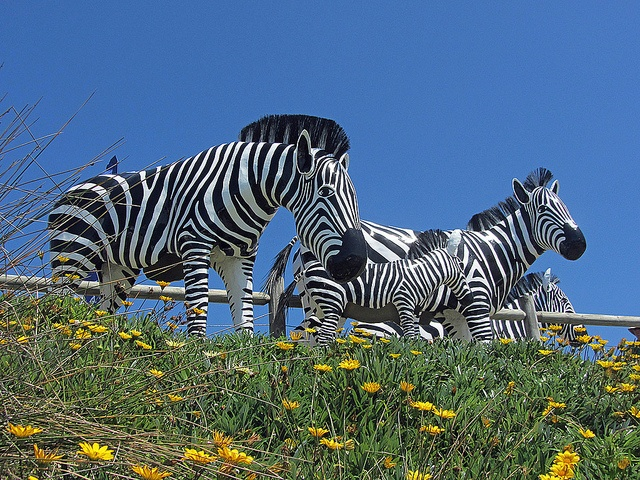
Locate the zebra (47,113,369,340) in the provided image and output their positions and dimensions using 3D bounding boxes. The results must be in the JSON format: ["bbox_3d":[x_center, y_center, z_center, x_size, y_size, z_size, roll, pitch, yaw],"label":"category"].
[{"bbox_3d":[-0.841,-0.044,5.717,2.276,1.549,0.623,-3,2,21],"label":"zebra"}]
